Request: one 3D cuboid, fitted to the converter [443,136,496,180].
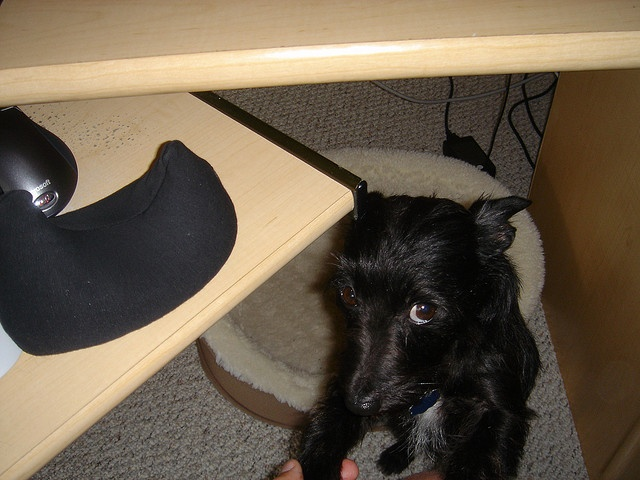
[{"bbox_3d":[0.391,-0.234,1.583,0.098,0.043,0.188,-34,62,-19],"label":"converter"}]
